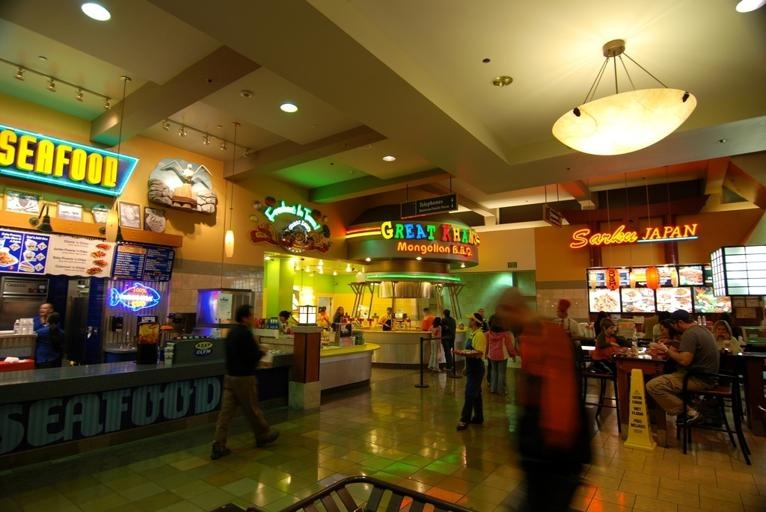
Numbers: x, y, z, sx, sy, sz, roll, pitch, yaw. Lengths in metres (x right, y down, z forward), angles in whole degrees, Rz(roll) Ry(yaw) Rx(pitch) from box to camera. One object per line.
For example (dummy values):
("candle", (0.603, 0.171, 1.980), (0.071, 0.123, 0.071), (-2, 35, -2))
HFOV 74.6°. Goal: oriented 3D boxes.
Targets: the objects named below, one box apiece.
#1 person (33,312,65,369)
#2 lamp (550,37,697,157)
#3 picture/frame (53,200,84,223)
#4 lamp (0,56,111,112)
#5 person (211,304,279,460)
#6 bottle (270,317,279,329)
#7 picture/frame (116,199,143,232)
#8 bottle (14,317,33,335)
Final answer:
("person", (-6.021, 1.558, 9.058), (0.418, 1.011, 0.503), (-3, 7, -33))
("lamp", (3.358, -2.241, 7.056), (2.007, 1.333, 1.877), (-6, -5, 4))
("picture/frame", (-5.917, -0.823, 9.425), (0.512, 0.439, 0.066), (-1, -3, -43))
("lamp", (-5.641, -2.969, 8.790), (1.656, 0.589, 0.485), (-5, 8, -37))
("person", (-2.106, 1.863, 7.698), (0.935, 2.135, 0.852), (0, 6, -9))
("bottle", (-2.298, 1.439, 10.713), (0.201, 0.158, 0.247), (3, -4, -11))
("picture/frame", (-5.062, -0.791, 10.005), (0.029, 0.549, 0.725), (-7, 2, 36))
("bottle", (-6.472, 1.277, 9.077), (0.318, 0.389, 0.293), (-5, -12, -1))
